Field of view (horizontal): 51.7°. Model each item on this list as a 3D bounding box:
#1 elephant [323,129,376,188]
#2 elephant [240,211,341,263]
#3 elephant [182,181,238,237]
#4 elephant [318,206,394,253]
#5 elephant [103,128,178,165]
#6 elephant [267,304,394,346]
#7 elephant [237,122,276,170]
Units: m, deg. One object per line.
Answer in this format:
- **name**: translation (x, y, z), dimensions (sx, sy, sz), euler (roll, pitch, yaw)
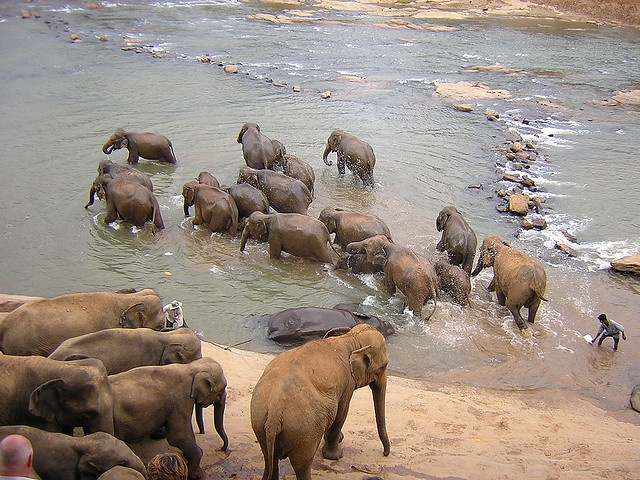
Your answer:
- **elephant**: translation (0.720, -1.774, 14.400), dimensions (0.524, 0.938, 1.387), euler (-11, 28, -33)
- **elephant**: translation (-0.544, 0.000, 11.536), dimensions (1.798, 0.915, 0.609), euler (7, 27, 11)
- **elephant**: translation (-2.008, -0.554, 12.063), dimensions (1.524, 0.818, 0.619), euler (26, 37, 37)
- **elephant**: translation (0.641, -0.245, 11.709), dimensions (1.389, 0.685, 0.570), euler (17, 39, 19)
- **elephant**: translation (-3.766, -1.995, 14.185), dimensions (1.792, 0.827, 0.596), euler (5, 47, -12)
- **elephant**: translation (0.157, 1.188, 9.705), dimensions (1.791, 0.644, 0.924), euler (3, 27, -5)
- **elephant**: translation (-1.346, -1.998, 13.852), dimensions (0.559, 0.659, 1.221), euler (-16, 47, -11)
